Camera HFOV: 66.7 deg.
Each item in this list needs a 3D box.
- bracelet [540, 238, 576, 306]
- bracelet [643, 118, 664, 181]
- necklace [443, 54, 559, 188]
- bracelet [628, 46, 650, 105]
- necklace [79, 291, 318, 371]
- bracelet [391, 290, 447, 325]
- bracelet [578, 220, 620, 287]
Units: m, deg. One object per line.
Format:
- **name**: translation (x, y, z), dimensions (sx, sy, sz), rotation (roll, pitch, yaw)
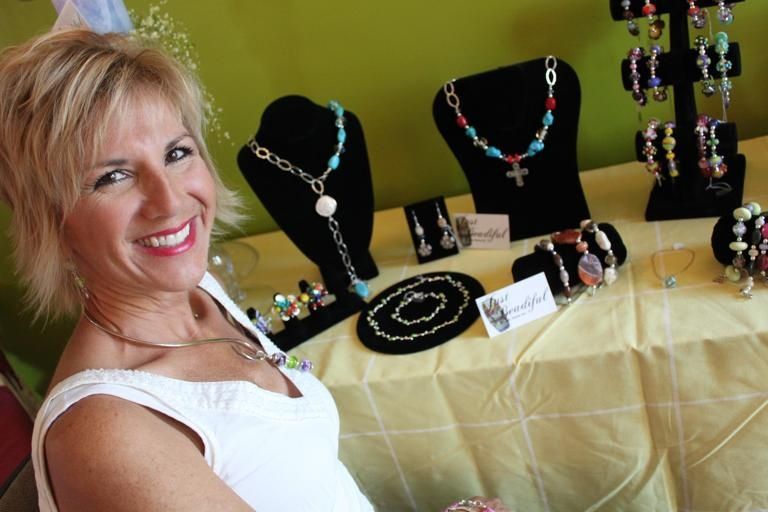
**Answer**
- **bracelet**: translation (0.459, 0.040, 1.539), dimensions (0.024, 0.145, 0.112), rotation (-19, 5, 14)
- **bracelet**: translation (0.768, -0.300, 1.692), dimensions (0.039, 0.141, 0.101), rotation (0, 8, 10)
- **necklace**: translation (0.354, -0.397, 1.708), dimensions (0.360, 0.458, 0.067), rotation (-9, 15, 12)
- **bracelet**: translation (0.704, -0.513, 1.637), dimensions (0.043, 0.134, 0.095), rotation (0, 6, 16)
- **necklace**: translation (-0.386, 0.197, 1.354), dimensions (0.344, 0.031, 0.211), rotation (25, 15, 7)
- **bracelet**: translation (0.092, 0.150, 1.647), dimensions (0.114, 0.024, 0.093), rotation (-33, 37, -20)
- **bracelet**: translation (0.550, 0.002, 1.564), dimensions (0.124, 0.171, 0.053), rotation (-5, -11, -23)
